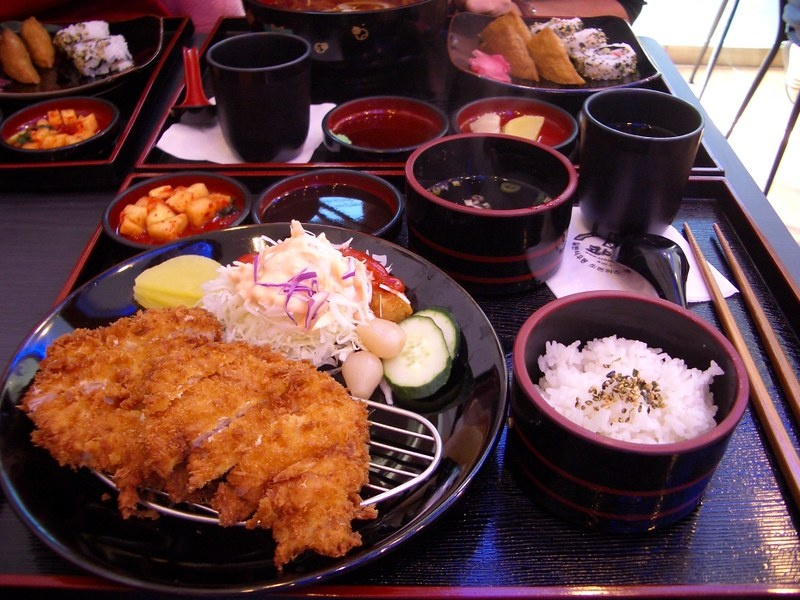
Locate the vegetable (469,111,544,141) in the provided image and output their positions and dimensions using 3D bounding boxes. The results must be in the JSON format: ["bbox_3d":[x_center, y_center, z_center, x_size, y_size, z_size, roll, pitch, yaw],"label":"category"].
[{"bbox_3d":[0.453,-0.751,2.627,0.297,0.076,0.187,5,47,10],"label":"vegetable"}]

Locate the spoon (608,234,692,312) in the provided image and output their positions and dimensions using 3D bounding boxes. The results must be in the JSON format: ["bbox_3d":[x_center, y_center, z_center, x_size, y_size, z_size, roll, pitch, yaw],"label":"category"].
[{"bbox_3d":[0.875,-0.090,2.142,0.158,0.100,0.291,-3,45,-6],"label":"spoon"}]

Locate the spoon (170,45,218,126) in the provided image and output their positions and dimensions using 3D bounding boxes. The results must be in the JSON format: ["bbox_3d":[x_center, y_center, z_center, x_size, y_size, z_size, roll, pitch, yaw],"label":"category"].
[{"bbox_3d":[-0.974,-1.026,2.882,0.162,0.127,0.463,-5,51,-9],"label":"spoon"}]

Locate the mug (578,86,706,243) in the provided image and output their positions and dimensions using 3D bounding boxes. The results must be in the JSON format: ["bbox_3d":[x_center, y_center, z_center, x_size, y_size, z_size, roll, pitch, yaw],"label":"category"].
[{"bbox_3d":[0.861,-0.474,2.211,0.401,0.432,0.385,-17,42,-5],"label":"mug"}]

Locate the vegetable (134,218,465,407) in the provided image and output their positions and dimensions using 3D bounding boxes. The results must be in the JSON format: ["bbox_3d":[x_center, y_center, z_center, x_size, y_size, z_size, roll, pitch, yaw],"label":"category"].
[{"bbox_3d":[-0.325,0.050,1.975,0.947,0.308,0.534,5,50,-4],"label":"vegetable"}]

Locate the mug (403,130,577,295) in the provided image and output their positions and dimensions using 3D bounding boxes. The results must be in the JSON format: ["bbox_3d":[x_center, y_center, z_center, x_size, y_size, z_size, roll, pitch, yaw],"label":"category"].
[{"bbox_3d":[0.320,-0.322,2.240,0.573,0.324,0.561,11,43,12],"label":"mug"}]

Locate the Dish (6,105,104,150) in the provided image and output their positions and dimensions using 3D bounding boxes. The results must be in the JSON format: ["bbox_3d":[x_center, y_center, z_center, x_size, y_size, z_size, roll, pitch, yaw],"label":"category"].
[{"bbox_3d":[-1.518,-0.715,2.744,0.318,0.071,0.306,-1,44,-4],"label":"Dish"}]
